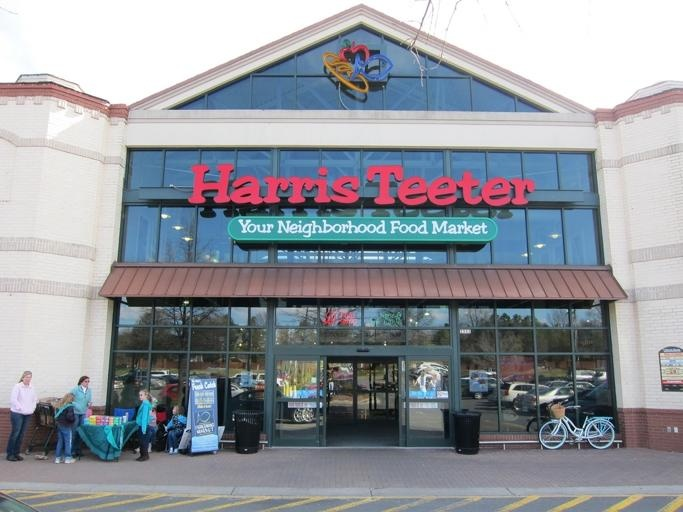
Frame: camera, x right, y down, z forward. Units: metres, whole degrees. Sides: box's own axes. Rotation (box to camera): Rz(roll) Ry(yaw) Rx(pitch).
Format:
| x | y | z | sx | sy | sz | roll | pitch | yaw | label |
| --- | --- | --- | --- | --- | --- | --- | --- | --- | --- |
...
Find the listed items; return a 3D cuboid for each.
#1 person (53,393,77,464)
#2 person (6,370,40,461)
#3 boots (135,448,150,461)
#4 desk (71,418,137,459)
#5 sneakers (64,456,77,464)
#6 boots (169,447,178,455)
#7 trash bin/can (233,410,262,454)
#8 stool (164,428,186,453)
| x | y | z | sx | sy | sz | roll | pitch | yaw | label |
| --- | --- | --- | --- | --- | --- | --- | --- | --- | --- |
| -7.946 | 4.955 | 19.416 | 0.579 | 1.988 | 0.738 | 0 | 2 | -19 | person |
| -9.329 | 4.644 | 19.628 | 0.582 | 2.492 | 0.750 | 1 | 2 | 13 | person |
| -5.815 | 5.803 | 19.793 | 0.377 | 0.342 | 0.428 | 0 | 2 | -12 | boots |
| -6.813 | 5.467 | 19.909 | 1.769 | 0.742 | 1.229 | -1 | -5 | 7 | desk |
| -7.767 | 5.881 | 19.389 | 0.167 | 0.117 | 0.342 | 0 | -4 | 7 | sneakers |
| -5.097 | 5.923 | 20.518 | 0.237 | 0.172 | 0.202 | 0 | 2 | -12 | boots |
| -2.847 | 5.389 | 20.606 | 0.773 | 1.215 | 0.480 | 0 | 2 | -6 | trash bin/can |
| -5.100 | 5.662 | 20.604 | 0.566 | 0.691 | 0.366 | 1 | 2 | 3 | stool |
